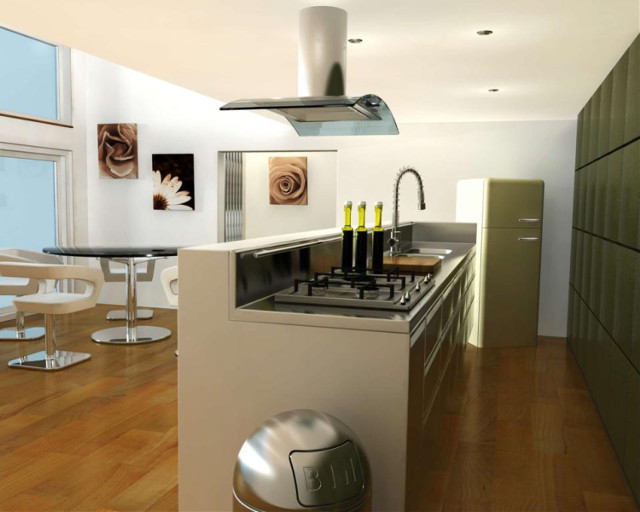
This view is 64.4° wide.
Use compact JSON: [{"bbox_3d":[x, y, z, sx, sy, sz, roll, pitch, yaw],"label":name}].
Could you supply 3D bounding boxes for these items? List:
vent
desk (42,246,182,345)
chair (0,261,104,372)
[{"bbox_3d":[-0.005,-1.042,2.960,0.833,0.594,0.846,3,7,15],"label":"vent"},{"bbox_3d":[-1.945,0.436,5.238,1.228,0.793,1.225,1,0,12],"label":"desk"},{"bbox_3d":[-2.357,0.499,4.470,0.744,0.935,0.836,-5,9,-37],"label":"chair"}]
